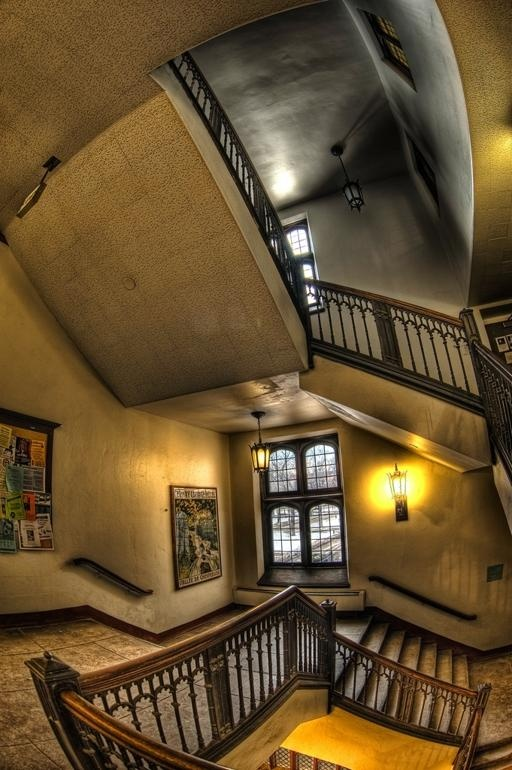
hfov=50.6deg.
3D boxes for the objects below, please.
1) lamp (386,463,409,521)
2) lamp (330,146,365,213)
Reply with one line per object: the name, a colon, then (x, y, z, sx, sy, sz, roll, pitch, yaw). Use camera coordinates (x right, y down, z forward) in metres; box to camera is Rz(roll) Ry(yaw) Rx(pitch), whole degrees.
lamp: (1.957, 1.519, 7.553, 0.261, 0.778, 0.158, -6, -10, 20)
lamp: (1.260, -2.909, 7.616, 0.285, 1.066, 0.286, -18, -19, 11)
